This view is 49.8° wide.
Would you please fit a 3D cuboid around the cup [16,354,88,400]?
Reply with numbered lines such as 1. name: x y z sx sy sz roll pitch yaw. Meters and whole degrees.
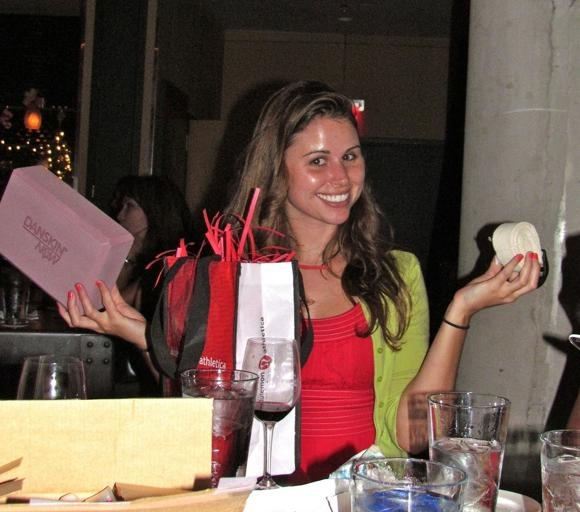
1. cup: -0.346 0.180 0.914 0.089 0.086 0.089 3 -11 1

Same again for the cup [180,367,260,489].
1. cup: -0.069 0.225 0.839 0.122 0.185 0.120 1 2 0

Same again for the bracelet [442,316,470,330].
1. bracelet: 0.379 0.153 1.400 0.078 0.029 0.040 4 -4 -33
